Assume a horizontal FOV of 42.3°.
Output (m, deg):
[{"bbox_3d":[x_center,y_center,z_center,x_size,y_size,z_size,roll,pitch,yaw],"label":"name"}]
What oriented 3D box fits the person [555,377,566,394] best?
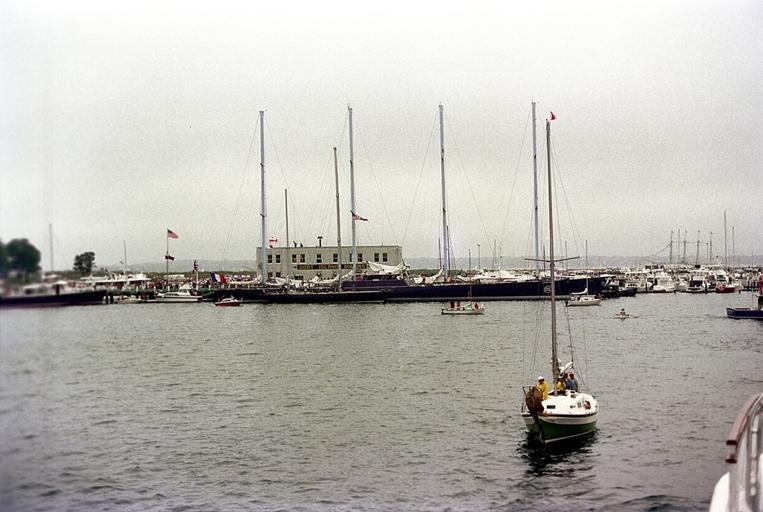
[{"bbox_3d":[11.173,8.116,62.103,0.629,0.982,0.360,7,-1,-5],"label":"person"}]
